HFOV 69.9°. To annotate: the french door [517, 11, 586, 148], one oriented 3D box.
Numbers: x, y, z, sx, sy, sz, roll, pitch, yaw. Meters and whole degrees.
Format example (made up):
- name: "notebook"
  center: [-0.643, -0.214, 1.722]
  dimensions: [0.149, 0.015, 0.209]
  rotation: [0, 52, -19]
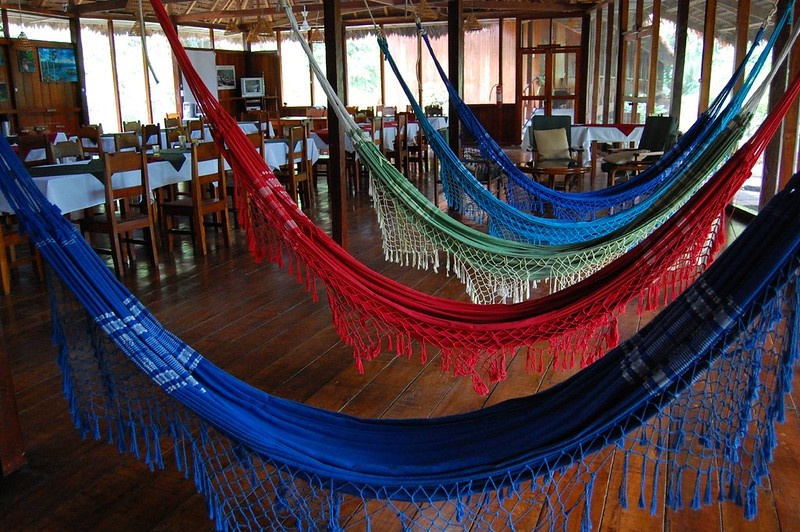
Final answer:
- name: "french door"
  center: [2.595, -3.086, 9.897]
  dimensions: [1.001, 2.412, 0.188]
  rotation: [2, -11, 10]
